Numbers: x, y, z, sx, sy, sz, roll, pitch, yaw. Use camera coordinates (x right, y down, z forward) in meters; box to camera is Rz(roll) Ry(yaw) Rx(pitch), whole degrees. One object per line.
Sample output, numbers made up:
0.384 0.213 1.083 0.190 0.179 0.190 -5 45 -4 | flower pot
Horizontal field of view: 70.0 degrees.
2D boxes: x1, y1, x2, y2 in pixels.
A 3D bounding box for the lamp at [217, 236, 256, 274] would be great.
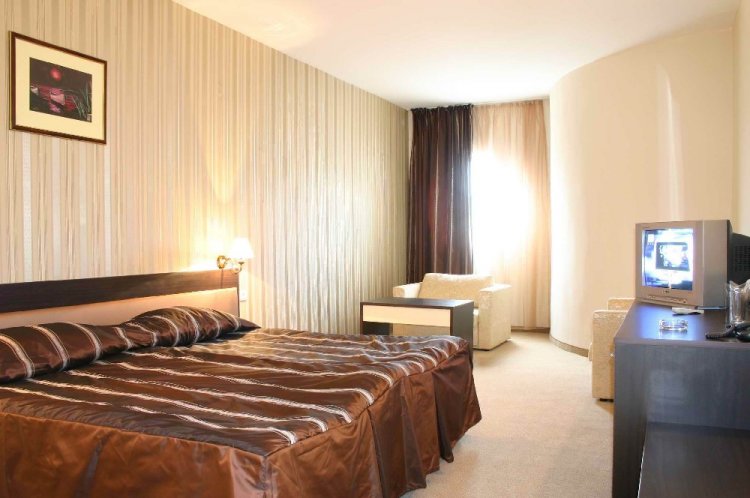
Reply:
-1.307 0.058 5.070 0.336 0.348 0.388 0 10 -13 | lamp
